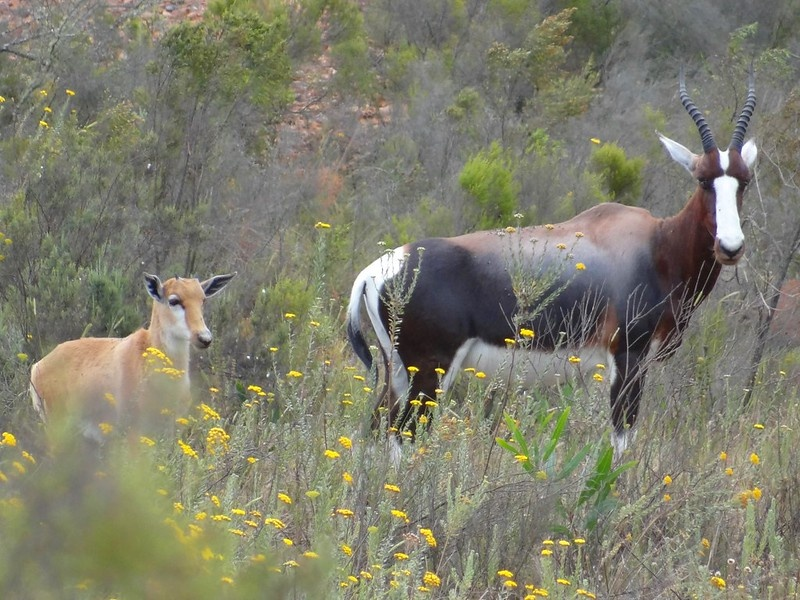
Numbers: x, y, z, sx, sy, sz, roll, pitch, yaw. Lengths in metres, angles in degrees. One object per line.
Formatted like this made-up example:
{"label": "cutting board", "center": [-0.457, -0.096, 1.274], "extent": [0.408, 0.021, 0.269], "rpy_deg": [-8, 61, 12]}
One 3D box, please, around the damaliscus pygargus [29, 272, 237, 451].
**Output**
{"label": "damaliscus pygargus", "center": [-1.904, 0.558, 8.629], "extent": [1.570, 1.428, 0.700], "rpy_deg": [-3, -1, 31]}
